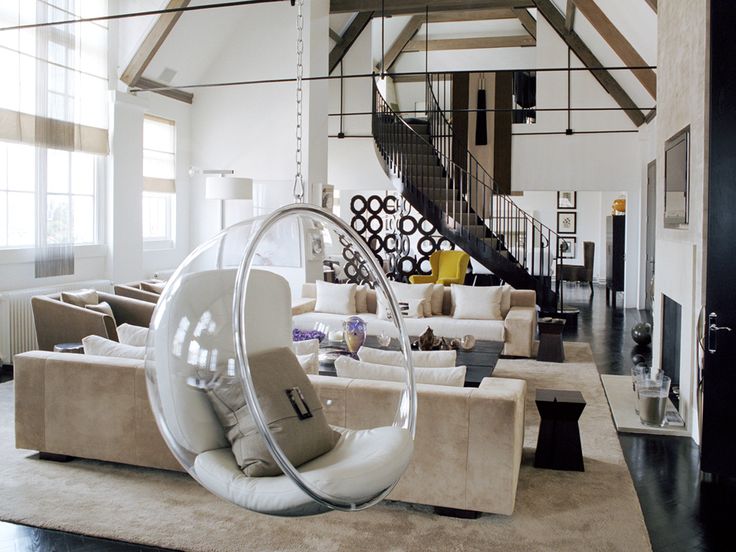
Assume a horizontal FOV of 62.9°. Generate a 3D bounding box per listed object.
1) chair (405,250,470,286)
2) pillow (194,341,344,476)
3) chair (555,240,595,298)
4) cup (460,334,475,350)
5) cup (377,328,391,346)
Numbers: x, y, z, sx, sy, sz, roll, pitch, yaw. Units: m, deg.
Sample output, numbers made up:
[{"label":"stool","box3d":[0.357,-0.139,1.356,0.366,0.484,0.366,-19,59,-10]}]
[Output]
[{"label":"chair","box3d":[1.259,0.009,10.373,0.769,1.008,0.850,3,-6,19]},{"label":"pillow","box3d":[-0.444,0.693,3.048,0.361,0.592,0.719,-16,-11,26]},{"label":"chair","box3d":[5.014,-0.286,14.488,0.865,1.198,0.803,6,8,40]},{"label":"cup","box3d":[1.048,0.689,6.285,0.119,0.140,0.140,-1,-10,-2]},{"label":"cup","box3d":[0.166,0.622,5.972,0.113,0.148,0.127,0,-5,8]}]
